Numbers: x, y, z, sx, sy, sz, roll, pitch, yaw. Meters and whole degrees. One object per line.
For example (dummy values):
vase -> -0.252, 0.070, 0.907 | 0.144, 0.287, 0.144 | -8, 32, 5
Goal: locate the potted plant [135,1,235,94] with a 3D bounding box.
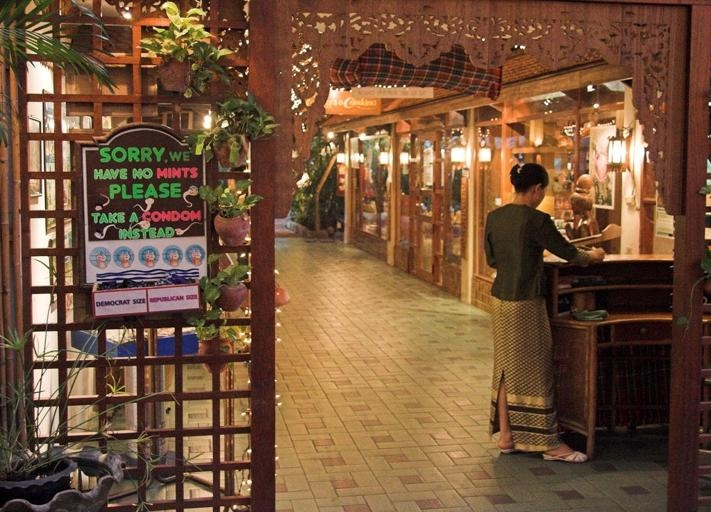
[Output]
potted plant -> -1.069, -1.300, 4.789 | 0.569, 0.564, 0.324 | -1, 8, -10

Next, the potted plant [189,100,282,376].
potted plant -> -0.795, -0.127, 4.939 | 0.557, 1.807, 0.353 | -1, 8, -13

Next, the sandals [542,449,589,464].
sandals -> 1.848, 1.746, 6.601 | 0.276, 0.109, 0.167 | -2, 1, 9
